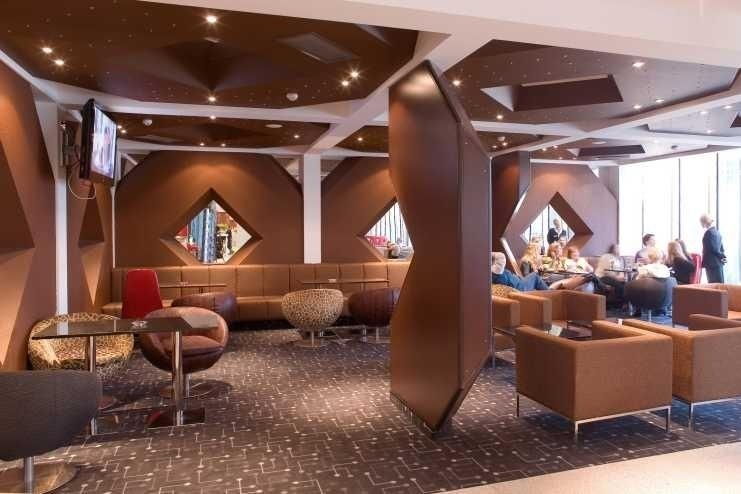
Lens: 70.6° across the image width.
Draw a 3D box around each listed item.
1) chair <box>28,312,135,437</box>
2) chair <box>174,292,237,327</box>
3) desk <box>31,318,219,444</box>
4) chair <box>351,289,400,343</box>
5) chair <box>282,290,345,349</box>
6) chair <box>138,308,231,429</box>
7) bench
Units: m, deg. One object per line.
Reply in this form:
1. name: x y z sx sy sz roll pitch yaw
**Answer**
1. chair: -3.627 1.427 6.525 1.098 1.046 1.199 8 4 30
2. chair: -2.800 1.062 8.955 0.714 0.396 0.681 2 -6 -2
3. desk: -2.560 1.267 5.659 1.529 0.874 1.473 0 1 4
4. chair: 0.082 1.192 9.180 0.861 0.854 0.953 0 0 28
5. chair: -0.994 1.162 8.921 1.067 0.861 0.963 -1 2 -19
6. chair: -2.368 1.421 6.568 1.053 1.109 1.082 4 3 21
7. bench: -2.022 0.920 10.153 5.926 1.081 1.121 -1 2 -14
